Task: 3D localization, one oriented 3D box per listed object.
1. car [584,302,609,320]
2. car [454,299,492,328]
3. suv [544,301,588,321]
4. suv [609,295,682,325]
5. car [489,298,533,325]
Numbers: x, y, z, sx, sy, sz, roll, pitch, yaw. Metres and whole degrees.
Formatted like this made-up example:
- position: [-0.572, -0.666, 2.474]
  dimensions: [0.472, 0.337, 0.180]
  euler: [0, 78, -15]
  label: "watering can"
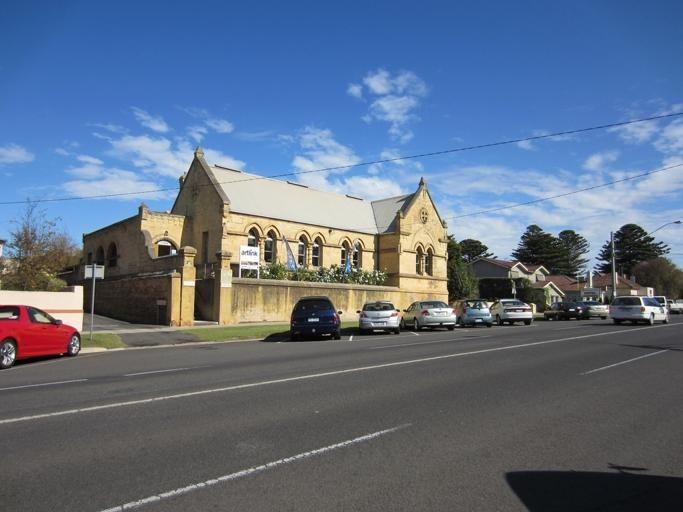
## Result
- position: [17.735, 3.803, 40.240]
  dimensions: [1.160, 0.862, 2.568]
  euler: [0, -2, 1]
  label: "car"
- position: [6.997, 2.945, 30.351]
  dimensions: [1.105, 0.968, 1.975]
  euler: [0, -2, 1]
  label: "car"
- position: [15.404, 3.749, 39.422]
  dimensions: [1.165, 0.868, 2.604]
  euler: [0, -3, -5]
  label: "suv"
- position: [17.002, 2.927, 32.193]
  dimensions: [1.787, 1.413, 3.983]
  euler: [-3, -3, 40]
  label: "suv"
- position: [9.619, 3.199, 33.068]
  dimensions: [1.167, 0.903, 2.722]
  euler: [-1, -3, -3]
  label: "car"
